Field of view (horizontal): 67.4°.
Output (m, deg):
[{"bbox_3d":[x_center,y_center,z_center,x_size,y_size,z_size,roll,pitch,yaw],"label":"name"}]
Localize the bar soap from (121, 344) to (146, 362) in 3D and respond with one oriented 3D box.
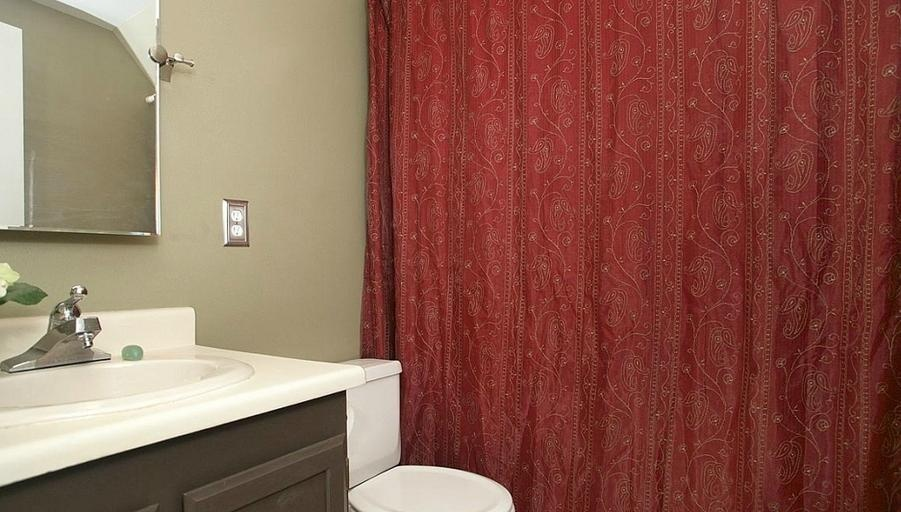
[{"bbox_3d":[-1.124,0.338,2.381,0.057,0.045,0.060,-5,12,-20],"label":"bar soap"}]
